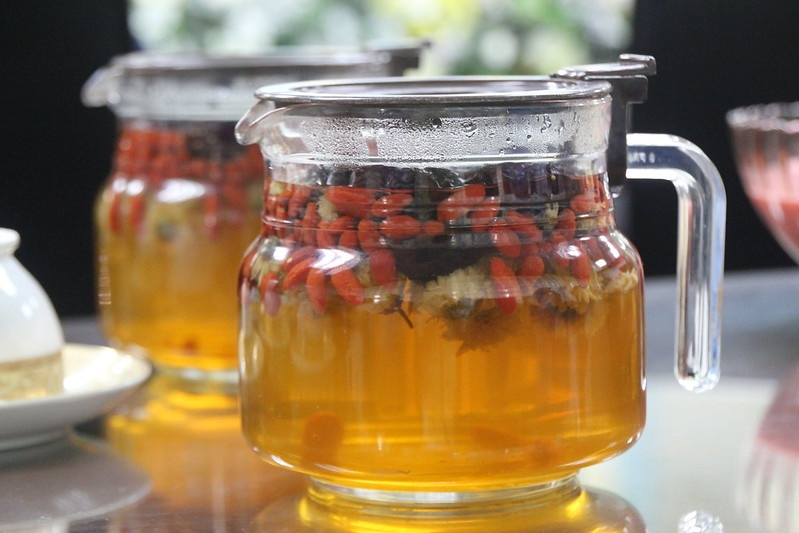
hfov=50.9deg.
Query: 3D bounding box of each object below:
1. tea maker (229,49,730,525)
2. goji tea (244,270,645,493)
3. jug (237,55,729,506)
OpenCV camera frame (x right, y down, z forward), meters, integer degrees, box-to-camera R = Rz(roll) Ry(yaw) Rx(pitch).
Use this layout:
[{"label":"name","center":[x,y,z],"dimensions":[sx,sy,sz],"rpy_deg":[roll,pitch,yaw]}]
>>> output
[{"label":"tea maker","center":[0.057,0.002,0.816],"dimensions":[0.520,0.370,0.364],"rpy_deg":[0,8,-9]},{"label":"goji tea","center":[0.039,0.057,0.693],"dimensions":[0.237,0.145,0.218],"rpy_deg":[-1,2,-20]},{"label":"jug","center":[0.061,0.005,0.814],"dimensions":[0.532,0.366,0.364],"rpy_deg":[-1,7,-7]}]
